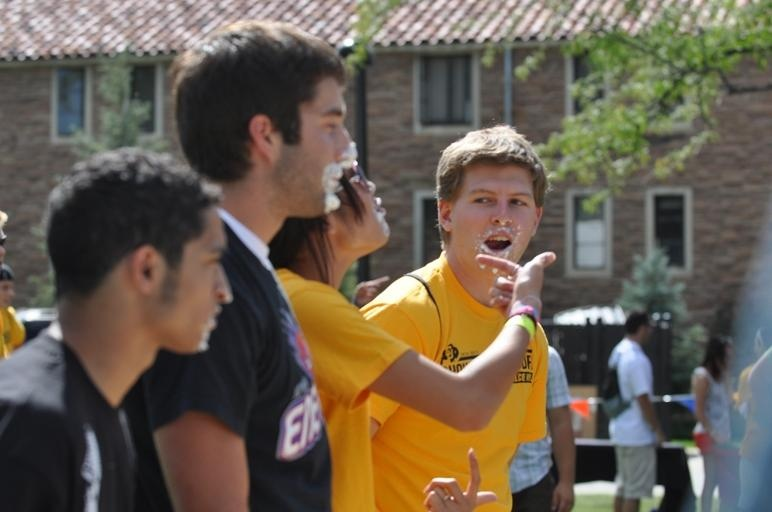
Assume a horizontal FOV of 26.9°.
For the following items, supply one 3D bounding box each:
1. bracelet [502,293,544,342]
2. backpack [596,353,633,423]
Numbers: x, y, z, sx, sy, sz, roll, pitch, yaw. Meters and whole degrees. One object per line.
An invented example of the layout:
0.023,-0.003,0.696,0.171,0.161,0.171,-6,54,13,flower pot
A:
0.900,0.403,10.615,0.241,0.254,0.229,-3,-2,-7,bracelet
2.280,1.265,15.653,0.296,0.501,0.328,-8,8,28,backpack
